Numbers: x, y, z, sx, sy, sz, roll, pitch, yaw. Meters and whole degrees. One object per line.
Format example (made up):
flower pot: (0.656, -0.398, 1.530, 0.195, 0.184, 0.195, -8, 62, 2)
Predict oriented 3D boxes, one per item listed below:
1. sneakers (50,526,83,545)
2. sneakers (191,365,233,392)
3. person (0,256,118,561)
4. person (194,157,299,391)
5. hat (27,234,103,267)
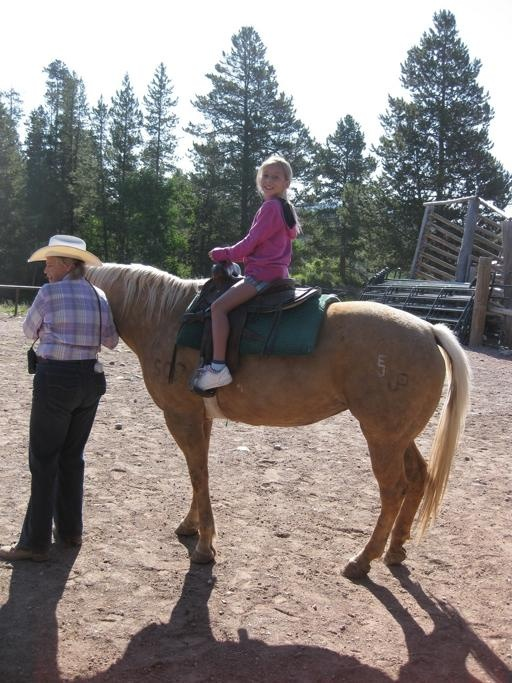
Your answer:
sneakers: (-1.191, 1.213, 4.343, 0.232, 0.087, 0.079, 20, 20, 39)
sneakers: (-0.250, 0.207, 3.970, 0.283, 0.116, 0.108, -13, 5, 39)
person: (-1.154, 0.364, 4.119, 0.393, 1.830, 0.655, 9, 12, 21)
person: (-0.036, -0.426, 4.151, 0.441, 1.406, 0.849, 9, 12, 23)
hat: (-1.109, -0.541, 4.127, 0.359, 0.130, 0.282, 3, -3, -25)
